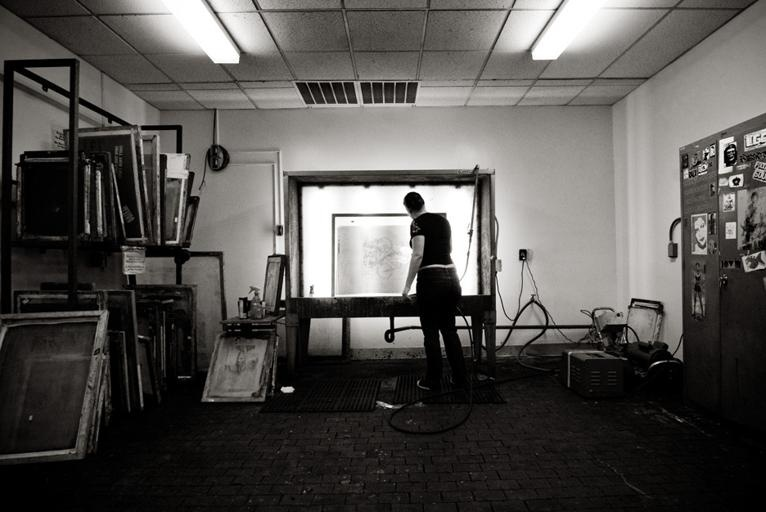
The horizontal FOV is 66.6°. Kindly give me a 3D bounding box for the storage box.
[{"bbox_3d":[2.454,1.271,6.712,0.488,0.423,0.703,1,-3,0],"label":"storage box"}]

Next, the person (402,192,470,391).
[{"bbox_3d":[0.593,0.532,6.734,0.693,2.065,0.305,-1,-3,3],"label":"person"}]

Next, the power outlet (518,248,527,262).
[{"bbox_3d":[1.999,-0.025,8.342,0.187,0.249,0.027,1,-2,5],"label":"power outlet"}]

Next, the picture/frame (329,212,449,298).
[{"bbox_3d":[0.108,0.027,7.505,1.174,0.827,0.039,0,-9,1],"label":"picture/frame"}]
